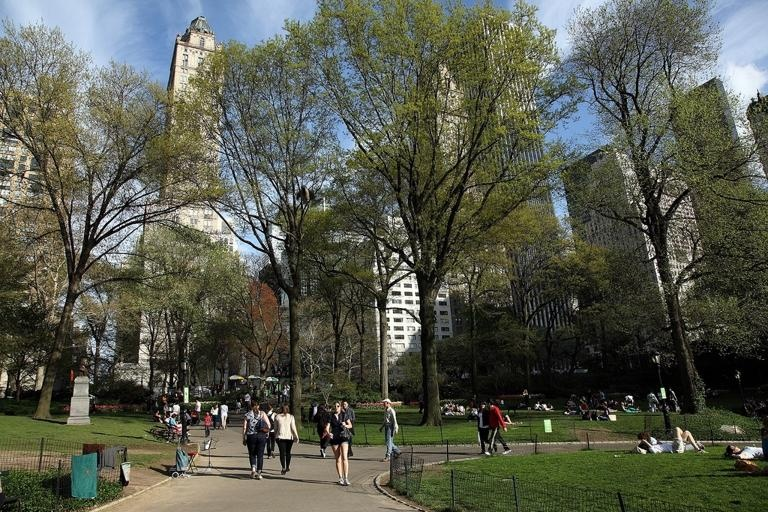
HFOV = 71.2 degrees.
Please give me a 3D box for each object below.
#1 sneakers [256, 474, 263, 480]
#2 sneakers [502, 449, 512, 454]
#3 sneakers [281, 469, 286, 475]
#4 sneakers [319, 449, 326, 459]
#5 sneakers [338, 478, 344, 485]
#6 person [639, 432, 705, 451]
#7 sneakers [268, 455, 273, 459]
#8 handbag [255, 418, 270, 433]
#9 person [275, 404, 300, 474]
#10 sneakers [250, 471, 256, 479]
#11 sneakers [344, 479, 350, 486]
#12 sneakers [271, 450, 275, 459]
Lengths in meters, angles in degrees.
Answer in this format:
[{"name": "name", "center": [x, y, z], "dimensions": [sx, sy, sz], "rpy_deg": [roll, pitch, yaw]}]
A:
[{"name": "sneakers", "center": [-4.652, 8.324, 20.194], "dimensions": [0.223, 0.188, 0.300], "rpy_deg": [2, -19, -12]}, {"name": "sneakers", "center": [5.524, 8.824, 24.121], "dimensions": [0.357, 0.226, 0.120], "rpy_deg": [-16, -25, -13]}, {"name": "sneakers", "center": [-3.861, 8.414, 20.853], "dimensions": [0.154, 0.268, 0.156], "rpy_deg": [1, -17, -8]}, {"name": "sneakers", "center": [-2.734, 9.006, 24.400], "dimensions": [0.151, 0.416, 0.177], "rpy_deg": [-4, -1, 18]}, {"name": "sneakers", "center": [-1.556, 8.227, 19.516], "dimensions": [0.141, 0.173, 0.410], "rpy_deg": [6, -22, -21]}, {"name": "person", "center": [12.780, 8.322, 23.971], "dimensions": [1.899, 0.721, 1.443], "rpy_deg": [-5, -16, 5]}, {"name": "sneakers", "center": [-5.039, 8.980, 23.923], "dimensions": [0.224, 0.107, 0.314], "rpy_deg": [1, -10, -5]}, {"name": "handbag", "center": [-4.675, 6.534, 20.615], "dimensions": [0.277, 0.495, 0.429], "rpy_deg": [-30, -39, 22]}, {"name": "person", "center": [-3.879, 7.239, 21.144], "dimensions": [0.826, 2.566, 1.424], "rpy_deg": [-1, -19, -4]}, {"name": "sneakers", "center": [-4.952, 8.321, 20.367], "dimensions": [0.127, 0.264, 0.427], "rpy_deg": [9, -22, -29]}, {"name": "sneakers", "center": [-1.316, 8.257, 19.549], "dimensions": [0.210, 0.216, 0.530], "rpy_deg": [-1, -19, -3]}, {"name": "sneakers", "center": [-4.940, 9.038, 24.200], "dimensions": [0.128, 0.259, 0.385], "rpy_deg": [2, -39, -10]}]
